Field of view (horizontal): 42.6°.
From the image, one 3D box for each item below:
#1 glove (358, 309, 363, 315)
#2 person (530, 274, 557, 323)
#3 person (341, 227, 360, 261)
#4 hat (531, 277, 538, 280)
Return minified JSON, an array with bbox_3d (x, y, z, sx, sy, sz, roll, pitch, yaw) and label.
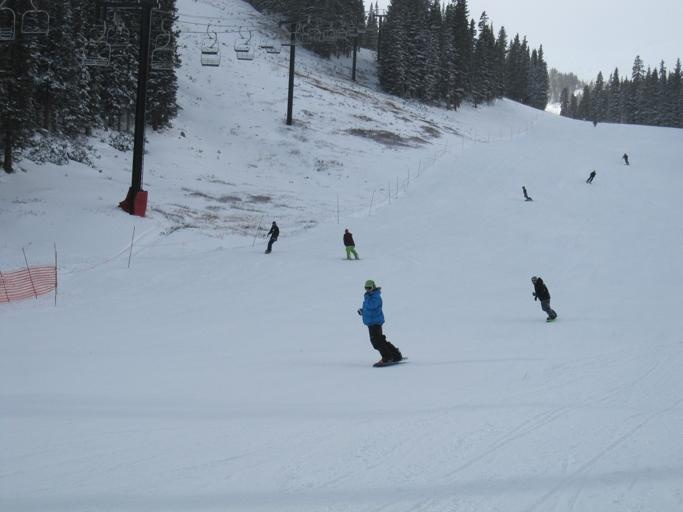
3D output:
[{"bbox_3d":[0.754,2.276,35.494,0.174,0.258,0.246,-4,10,3],"label":"glove"},{"bbox_3d":[9.560,2.106,41.742,1.040,2.527,1.106,-19,8,17],"label":"person"},{"bbox_3d":[0.548,-0.857,46.705,0.881,1.608,2.769,4,14,1],"label":"person"},{"bbox_3d":[8.887,1.019,40.519,0.311,0.154,0.461,2,-1,17],"label":"hat"}]
